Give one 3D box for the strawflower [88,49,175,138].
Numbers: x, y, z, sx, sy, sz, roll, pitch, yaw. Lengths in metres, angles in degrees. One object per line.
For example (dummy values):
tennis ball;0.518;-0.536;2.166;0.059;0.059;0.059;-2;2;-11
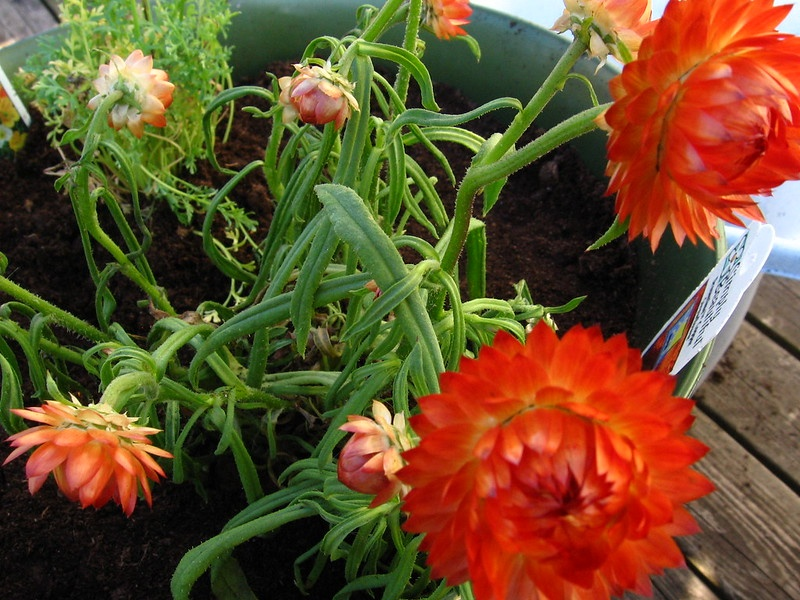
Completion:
strawflower;-0.396;-0.306;1.154;0.119;0.105;0.100;-25;52;-16
